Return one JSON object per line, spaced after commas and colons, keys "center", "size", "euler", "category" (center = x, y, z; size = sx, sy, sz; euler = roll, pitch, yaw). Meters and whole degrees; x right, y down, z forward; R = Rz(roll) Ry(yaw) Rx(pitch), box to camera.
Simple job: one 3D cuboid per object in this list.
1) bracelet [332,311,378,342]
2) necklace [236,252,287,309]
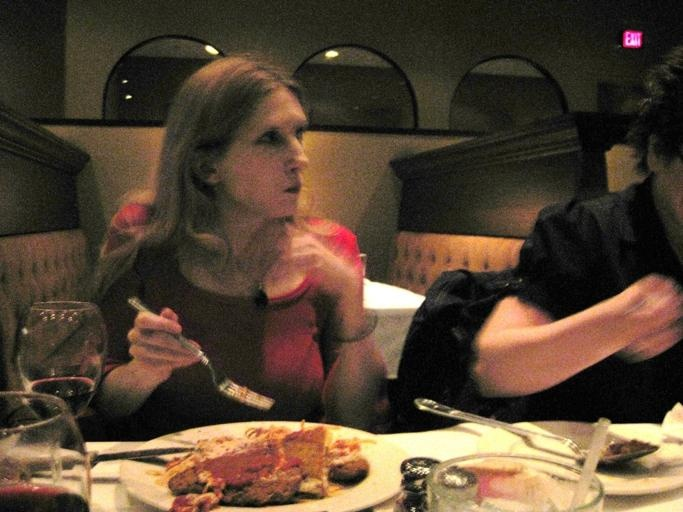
{"center": [0.048, 0.221, 2.172], "size": [0.119, 0.026, 0.116], "euler": [-34, -16, 27], "category": "bracelet"}
{"center": [-0.258, 0.079, 2.074], "size": [0.207, 0.155, 0.043], "euler": [1, -8, -14], "category": "necklace"}
